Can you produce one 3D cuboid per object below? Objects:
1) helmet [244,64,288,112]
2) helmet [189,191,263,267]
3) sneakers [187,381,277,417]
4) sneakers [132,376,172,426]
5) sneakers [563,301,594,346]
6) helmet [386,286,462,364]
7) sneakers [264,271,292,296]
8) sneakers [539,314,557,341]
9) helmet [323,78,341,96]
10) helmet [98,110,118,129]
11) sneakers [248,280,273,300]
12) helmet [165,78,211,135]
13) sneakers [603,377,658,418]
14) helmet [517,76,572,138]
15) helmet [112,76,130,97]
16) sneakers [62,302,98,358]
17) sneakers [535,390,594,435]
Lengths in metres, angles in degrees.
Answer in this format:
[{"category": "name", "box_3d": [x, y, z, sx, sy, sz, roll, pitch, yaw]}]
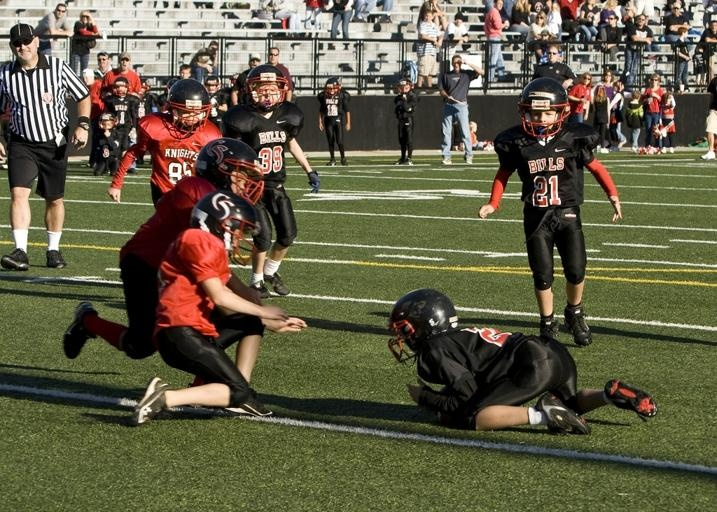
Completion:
[{"category": "helmet", "box_3d": [-0.765, -1.386, 7.707, 0.332, 0.392, 0.293, 0, 8, -8]}, {"category": "helmet", "box_3d": [-0.706, -0.155, 4.957, 0.346, 0.295, 0.294, 26, 6, -5]}, {"category": "sneakers", "box_3d": [-0.680, 0.892, 5.242, 0.526, 0.238, 0.182, 8, 9, -2]}, {"category": "sneakers", "box_3d": [-1.101, 0.811, 5.000, 0.136, 0.319, 0.114, 27, -3, 34]}, {"category": "sneakers", "box_3d": [1.619, 0.517, 6.727, 0.121, 0.175, 0.381, -11, 43, -1]}, {"category": "helmet", "box_3d": [0.333, 0.424, 5.328, 0.451, 0.433, 0.359, -4, 4, 16]}, {"category": "sneakers", "box_3d": [-0.694, 0.285, 7.956, 0.114, 0.136, 0.310, -23, 49, -36]}, {"category": "sneakers", "box_3d": [1.314, 0.538, 6.417, 0.055, 0.175, 0.071, -3, -9, 16]}, {"category": "helmet", "box_3d": [-0.511, -3.289, 18.113, 0.267, 0.312, 0.368, 0, 12, 2]}, {"category": "helmet", "box_3d": [-4.356, -2.317, 16.114, 0.254, 0.271, 0.330, -1, -7, 1]}, {"category": "sneakers", "box_3d": [-0.814, 0.316, 7.877, 0.176, 0.155, 0.261, 8, 11, 40]}, {"category": "helmet", "box_3d": [-1.269, -1.078, 6.877, 0.280, 0.311, 0.388, -2, 54, -15]}, {"category": "sneakers", "box_3d": [1.471, 0.815, 4.993, 0.300, 0.130, 0.167, 33, 8, 2]}, {"category": "helmet", "box_3d": [1.347, -1.058, 6.701, 0.344, 0.440, 0.290, 3, 8, 12]}, {"category": "helmet", "box_3d": [-4.181, -2.963, 16.292, 0.253, 0.287, 0.321, 1, 5, -3]}, {"category": "sneakers", "box_3d": [-1.814, 0.537, 6.037, 0.121, 0.339, 0.139, 30, -3, -39]}, {"category": "sneakers", "box_3d": [1.100, 0.901, 5.078, 0.316, 0.149, 0.175, 38, -17, -12]}]
